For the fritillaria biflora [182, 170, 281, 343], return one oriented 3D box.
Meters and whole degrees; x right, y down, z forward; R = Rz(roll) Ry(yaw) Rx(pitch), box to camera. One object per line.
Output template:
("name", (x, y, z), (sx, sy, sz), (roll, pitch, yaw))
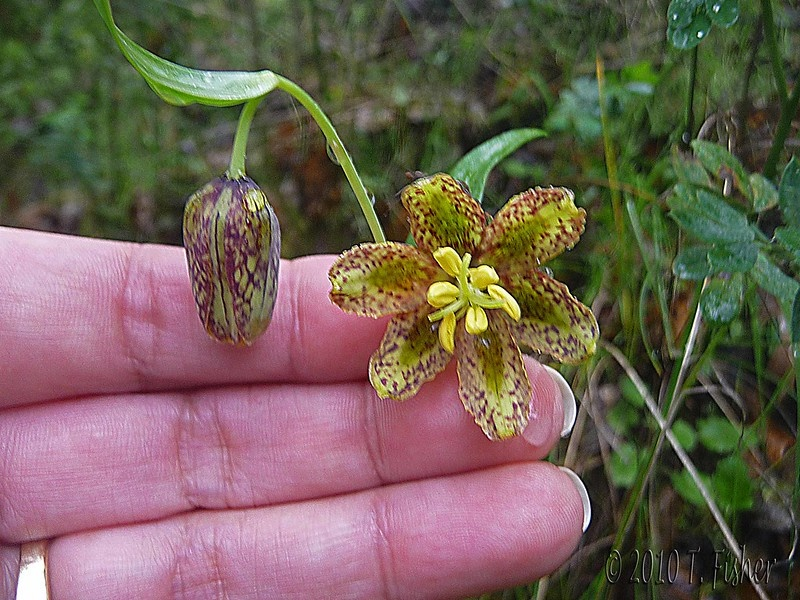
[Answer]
("fritillaria biflora", (-0.355, -0.081, 1.584), (0.200, 0.278, 0.230), (-7, 54, -8))
